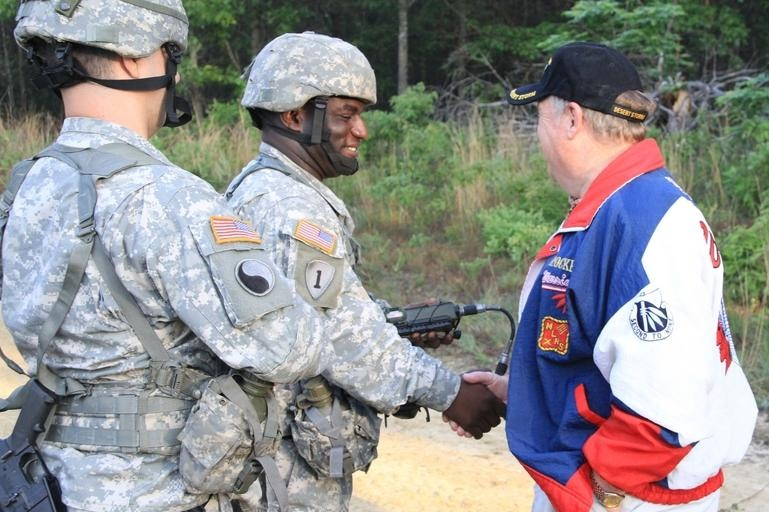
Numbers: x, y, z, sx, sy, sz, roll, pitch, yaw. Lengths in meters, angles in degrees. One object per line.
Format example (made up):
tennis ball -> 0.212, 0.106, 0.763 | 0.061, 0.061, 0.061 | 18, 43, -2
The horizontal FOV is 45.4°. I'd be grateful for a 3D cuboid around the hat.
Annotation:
hat -> 0.935, -0.922, 4.893 | 0.647, 0.345, 0.459 | 15, 0, 10
